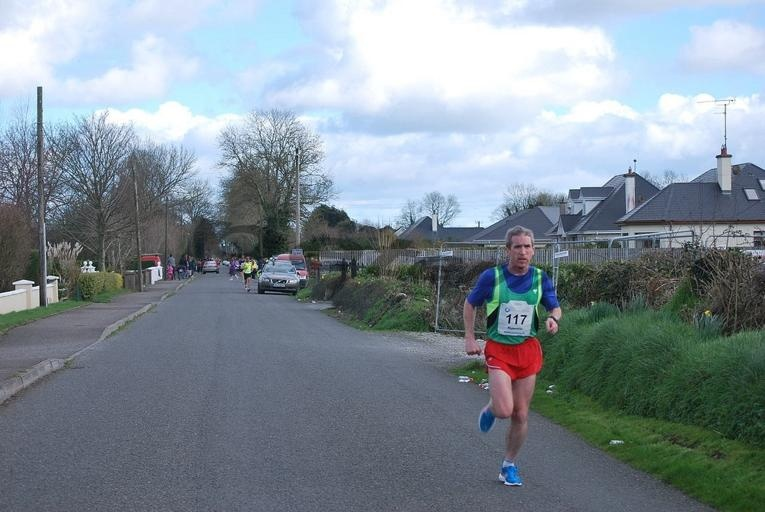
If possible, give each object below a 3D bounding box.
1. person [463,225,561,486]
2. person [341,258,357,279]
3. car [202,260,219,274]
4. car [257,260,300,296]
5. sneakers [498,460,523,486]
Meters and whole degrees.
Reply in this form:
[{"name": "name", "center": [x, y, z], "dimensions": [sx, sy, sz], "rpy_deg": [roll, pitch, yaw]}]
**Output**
[{"name": "person", "center": [1.445, 1.058, 7.804], "dimensions": [1.068, 2.797, 1.039], "rpy_deg": [1, 3, 15]}, {"name": "person", "center": [-1.318, 0.574, 31.493], "dimensions": [0.805, 1.003, 0.737], "rpy_deg": [-1, 2, -33]}, {"name": "car", "center": [-21.825, 1.257, 88.418], "dimensions": [1.167, 1.042, 2.955], "rpy_deg": [-1, 5, -8]}, {"name": "car", "center": [-5.780, 1.249, 38.855], "dimensions": [2.345, 1.739, 2.634], "rpy_deg": [1, 3, 3]}, {"name": "sneakers", "center": [1.410, 2.371, 7.602], "dimensions": [0.148, 0.155, 0.325], "rpy_deg": [2, -2, -19]}]
